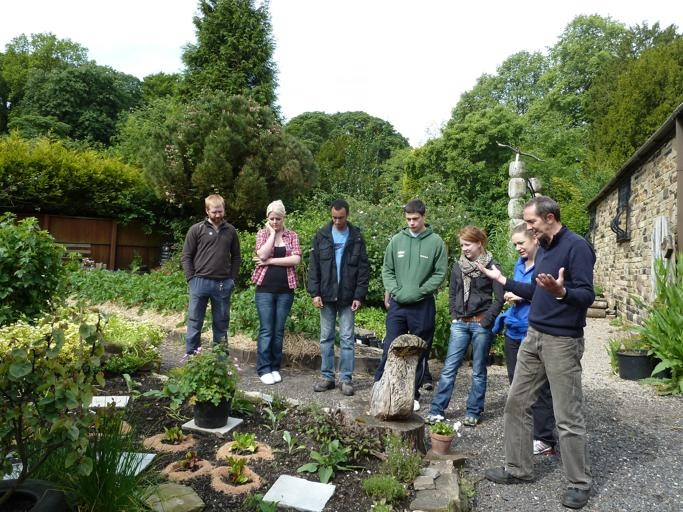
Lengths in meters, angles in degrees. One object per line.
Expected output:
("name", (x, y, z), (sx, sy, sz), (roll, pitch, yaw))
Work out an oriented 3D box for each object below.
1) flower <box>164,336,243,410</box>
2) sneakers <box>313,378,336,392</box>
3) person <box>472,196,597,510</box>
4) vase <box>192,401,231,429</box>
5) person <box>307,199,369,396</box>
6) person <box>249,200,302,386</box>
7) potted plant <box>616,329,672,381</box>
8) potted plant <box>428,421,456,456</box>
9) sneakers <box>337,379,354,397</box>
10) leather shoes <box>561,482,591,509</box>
("flower", (-1.483, 1.257, 5.573), (0.716, 0.647, 0.859), (-1, 6, -2))
("sneakers", (-0.223, 1.709, 7.015), (0.329, 0.147, 0.115), (6, -6, -37))
("person", (1.864, 0.819, 4.955), (0.869, 2.790, 0.695), (0, -4, 33))
("vase", (-1.298, 1.584, 5.330), (0.284, 0.218, 0.292), (1, -7, -3))
("person", (-0.058, 0.664, 6.984), (0.783, 2.228, 0.334), (2, -3, 2))
("person", (-0.884, 0.495, 7.234), (0.622, 2.430, 0.351), (3, -4, -16))
("potted plant", (4.529, 1.563, 8.147), (0.610, 0.638, 0.974), (2, -4, 9))
("potted plant", (0.981, 1.799, 5.300), (0.269, 0.305, 0.296), (1, -8, 2))
("sneakers", (0.057, 1.693, 6.831), (0.231, 0.170, 0.129), (-2, -5, 43))
("leather shoes", (2.093, 2.138, 4.752), (0.115, 0.133, 0.323), (-2, -10, 35))
